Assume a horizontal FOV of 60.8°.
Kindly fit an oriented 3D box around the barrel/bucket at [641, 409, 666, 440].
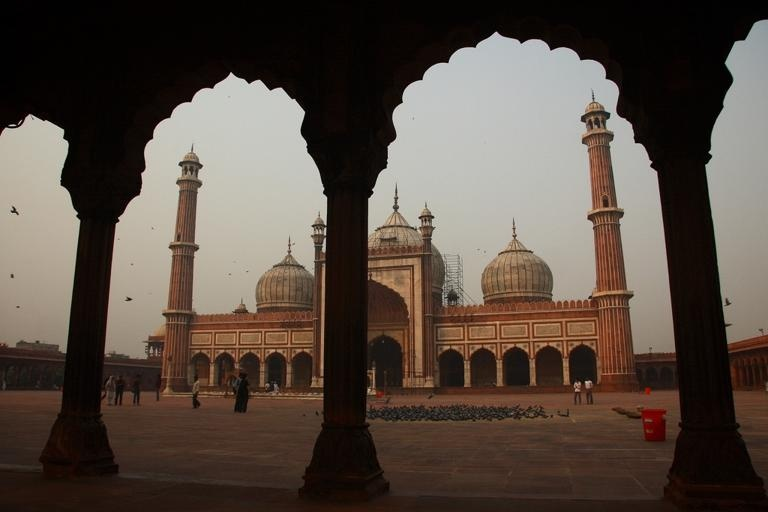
[{"bbox_3d":[3.715,2.331,9.075,0.423,0.444,0.421,0,-8,0],"label":"barrel/bucket"}]
